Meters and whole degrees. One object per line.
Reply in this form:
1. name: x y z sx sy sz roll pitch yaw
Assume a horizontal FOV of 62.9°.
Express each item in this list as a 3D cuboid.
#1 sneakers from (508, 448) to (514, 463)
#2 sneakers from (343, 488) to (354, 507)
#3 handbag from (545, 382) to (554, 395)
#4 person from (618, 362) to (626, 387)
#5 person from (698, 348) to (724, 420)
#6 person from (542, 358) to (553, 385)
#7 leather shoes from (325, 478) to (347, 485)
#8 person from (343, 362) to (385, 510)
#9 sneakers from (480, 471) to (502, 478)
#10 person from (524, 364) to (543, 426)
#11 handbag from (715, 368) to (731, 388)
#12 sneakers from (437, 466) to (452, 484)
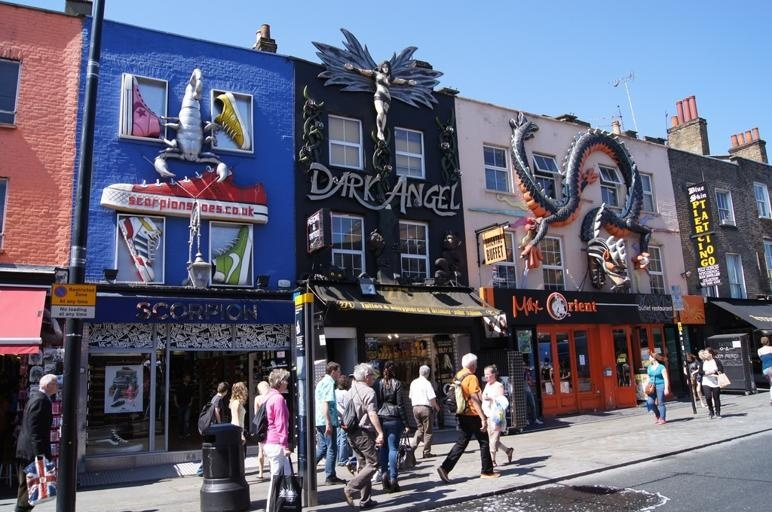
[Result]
1. sneakers: 3.177 5.153 16.336 0.157 0.474 0.182 -7 -16 36
2. sneakers: -0.800 5.235 13.643 0.146 0.494 0.207 -5 6 5
3. handbag: 6.293 5.137 24.455 0.495 0.464 0.115 11 -12 -34
4. person: 9.755 4.880 26.026 0.488 0.943 0.176 -2 -5 -13
5. person: 11.014 4.296 21.375 0.595 2.226 1.211 -5 -6 26
6. person: 6.281 4.446 24.548 0.742 0.895 0.345 3 -6 -26
7. leather shoes: -1.225 5.557 15.575 0.534 0.228 0.198 2 -8 -15
8. person: -0.525 3.981 13.946 0.871 3.095 0.652 -3 -5 -2
9. sneakers: 2.556 5.303 15.334 0.455 0.188 0.180 -3 -7 -5
10. person: 5.347 4.997 23.082 0.488 2.131 1.596 -4 -5 13
11. handbag: 11.237 4.119 21.115 0.272 0.449 0.774 -7 -6 38
12. sneakers: 1.351 5.199 15.013 0.173 0.461 0.178 -3 -13 -15
